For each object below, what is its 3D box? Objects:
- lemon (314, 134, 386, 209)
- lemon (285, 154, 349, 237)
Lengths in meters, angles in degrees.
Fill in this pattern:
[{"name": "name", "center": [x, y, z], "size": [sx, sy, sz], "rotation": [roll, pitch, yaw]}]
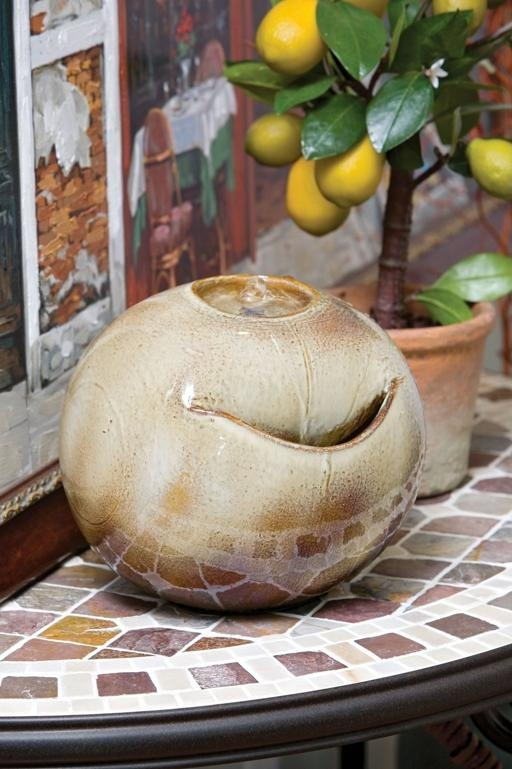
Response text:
[{"name": "lemon", "center": [0.063, -0.144, 0.572], "size": [0.038, 0.047, 0.037], "rotation": [24, 1, 7]}, {"name": "lemon", "center": [0.040, -0.141, 0.632], "size": [0.046, 0.055, 0.045], "rotation": [1, 12, -1]}]
